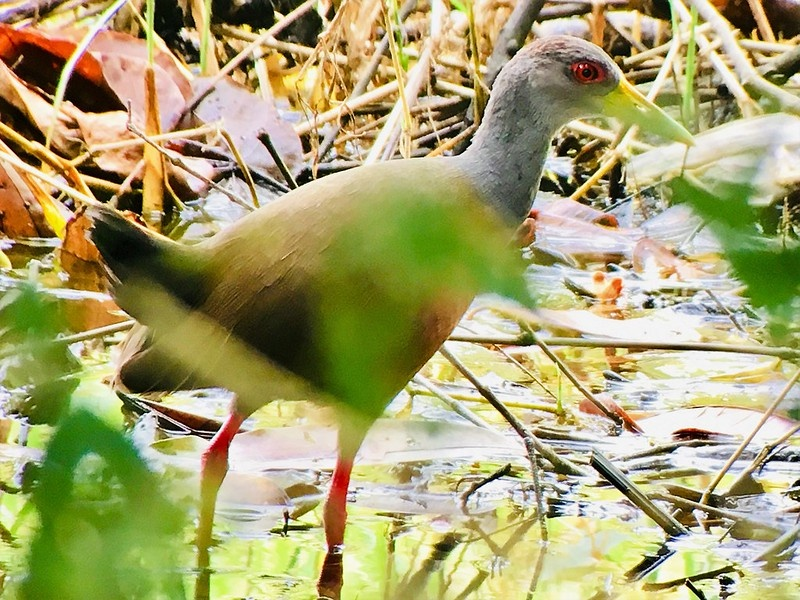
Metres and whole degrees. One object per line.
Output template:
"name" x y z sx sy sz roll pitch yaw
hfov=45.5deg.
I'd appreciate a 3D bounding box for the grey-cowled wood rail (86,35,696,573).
"grey-cowled wood rail" -0.035 -0.082 2.313 1.503 1.014 0.478 -4 7 -2
